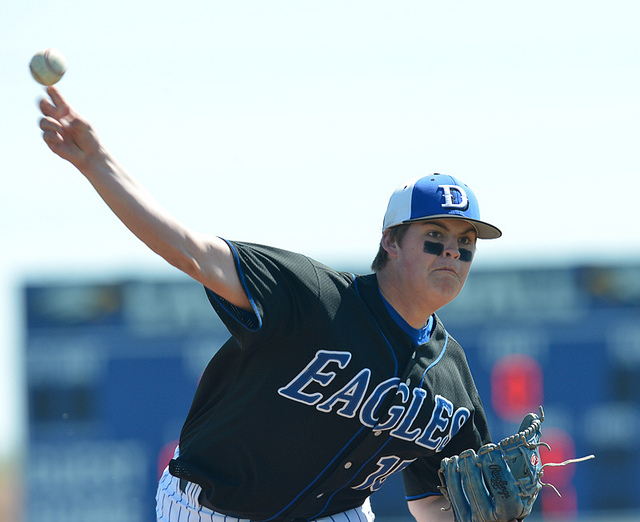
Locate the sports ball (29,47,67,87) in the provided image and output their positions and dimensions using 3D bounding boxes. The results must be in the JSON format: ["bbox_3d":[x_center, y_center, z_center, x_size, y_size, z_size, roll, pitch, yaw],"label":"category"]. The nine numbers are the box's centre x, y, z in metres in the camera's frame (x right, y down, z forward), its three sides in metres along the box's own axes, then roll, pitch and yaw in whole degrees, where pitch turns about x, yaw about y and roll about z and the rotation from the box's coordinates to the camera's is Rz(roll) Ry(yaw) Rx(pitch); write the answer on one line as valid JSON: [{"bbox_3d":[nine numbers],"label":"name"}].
[{"bbox_3d":[-1.984,-1.416,10.069,0.257,0.266,0.211,1,8,-14],"label":"sports ball"}]
